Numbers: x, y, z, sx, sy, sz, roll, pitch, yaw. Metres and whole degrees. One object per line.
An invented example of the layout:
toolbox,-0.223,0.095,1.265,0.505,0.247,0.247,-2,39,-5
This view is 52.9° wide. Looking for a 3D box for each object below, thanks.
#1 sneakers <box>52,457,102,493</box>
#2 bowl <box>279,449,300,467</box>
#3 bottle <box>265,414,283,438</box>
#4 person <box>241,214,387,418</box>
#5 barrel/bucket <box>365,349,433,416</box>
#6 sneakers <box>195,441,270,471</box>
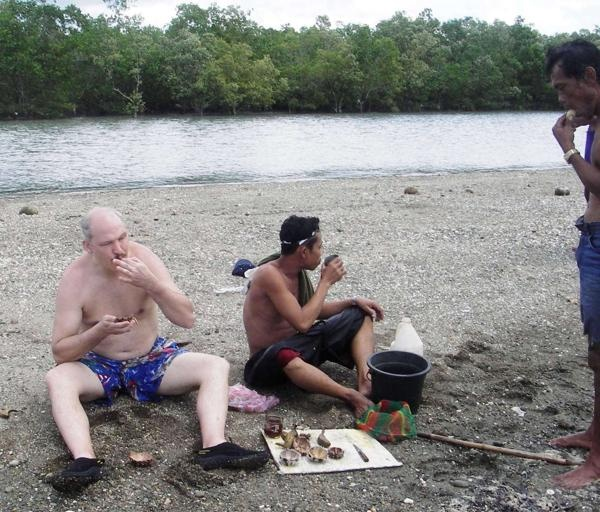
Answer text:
sneakers,-1.334,1.318,3.629,0.164,0.109,0.278,9,9,26
bowl,-0.075,1.334,3.995,0.129,0.060,0.134,-1,10,0
bottle,-0.206,1.216,4.288,0.129,0.080,0.120,1,7,0
person,0.147,0.406,4.919,1.340,1.300,1.115,2,6,-2
barrel/bucket,0.721,0.886,4.571,0.534,0.326,0.485,-3,13,-15
sneakers,-0.447,1.280,3.921,0.512,0.177,0.169,-2,-1,0
